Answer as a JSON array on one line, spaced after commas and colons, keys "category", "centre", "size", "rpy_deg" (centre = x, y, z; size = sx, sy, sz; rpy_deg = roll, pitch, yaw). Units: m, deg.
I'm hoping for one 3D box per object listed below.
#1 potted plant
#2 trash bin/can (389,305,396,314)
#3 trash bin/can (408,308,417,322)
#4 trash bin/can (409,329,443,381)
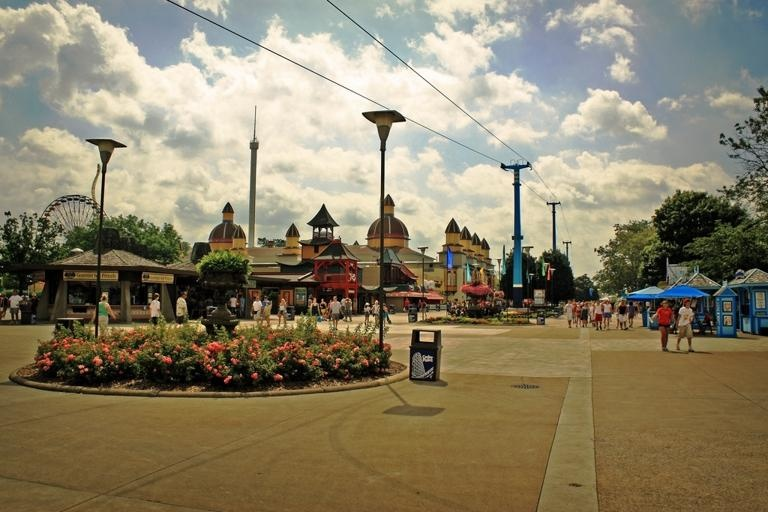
[{"category": "potted plant", "centre": [-4.838, 0.844, 18.956], "size": [1.511, 1.929, 1.570], "rpy_deg": [1, -6, 31]}, {"category": "trash bin/can", "centre": [1.004, 5.772, 70.662], "size": [0.949, 0.916, 0.929], "rpy_deg": [-1, -19, 2]}, {"category": "trash bin/can", "centre": [2.099, 4.309, 46.770], "size": [0.883, 1.208, 0.898], "rpy_deg": [-2, -1, 19]}, {"category": "trash bin/can", "centre": [1.072, 2.574, 16.811], "size": [0.787, 1.308, 0.674], "rpy_deg": [1, -1, 10]}]
